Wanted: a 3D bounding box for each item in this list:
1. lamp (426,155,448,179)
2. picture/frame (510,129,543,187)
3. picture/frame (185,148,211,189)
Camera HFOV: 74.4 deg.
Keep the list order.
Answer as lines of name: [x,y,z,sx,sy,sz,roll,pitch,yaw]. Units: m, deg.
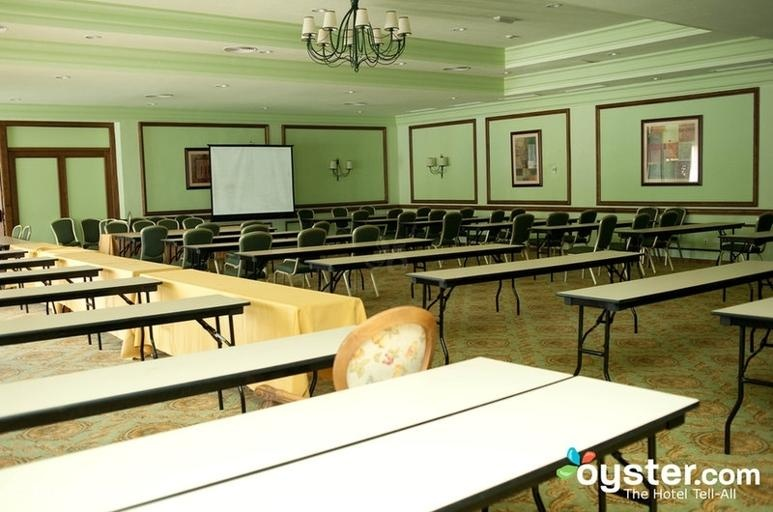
lamp: [1.343,-2.566,14.458,0.467,0.661,0.775,-10,12,-32]
picture/frame: [3.458,-2.414,12.650,0.248,1.366,0.912,-14,16,-39]
picture/frame: [-4.788,-2.234,12.983,0.674,1.055,0.133,-8,13,-24]
